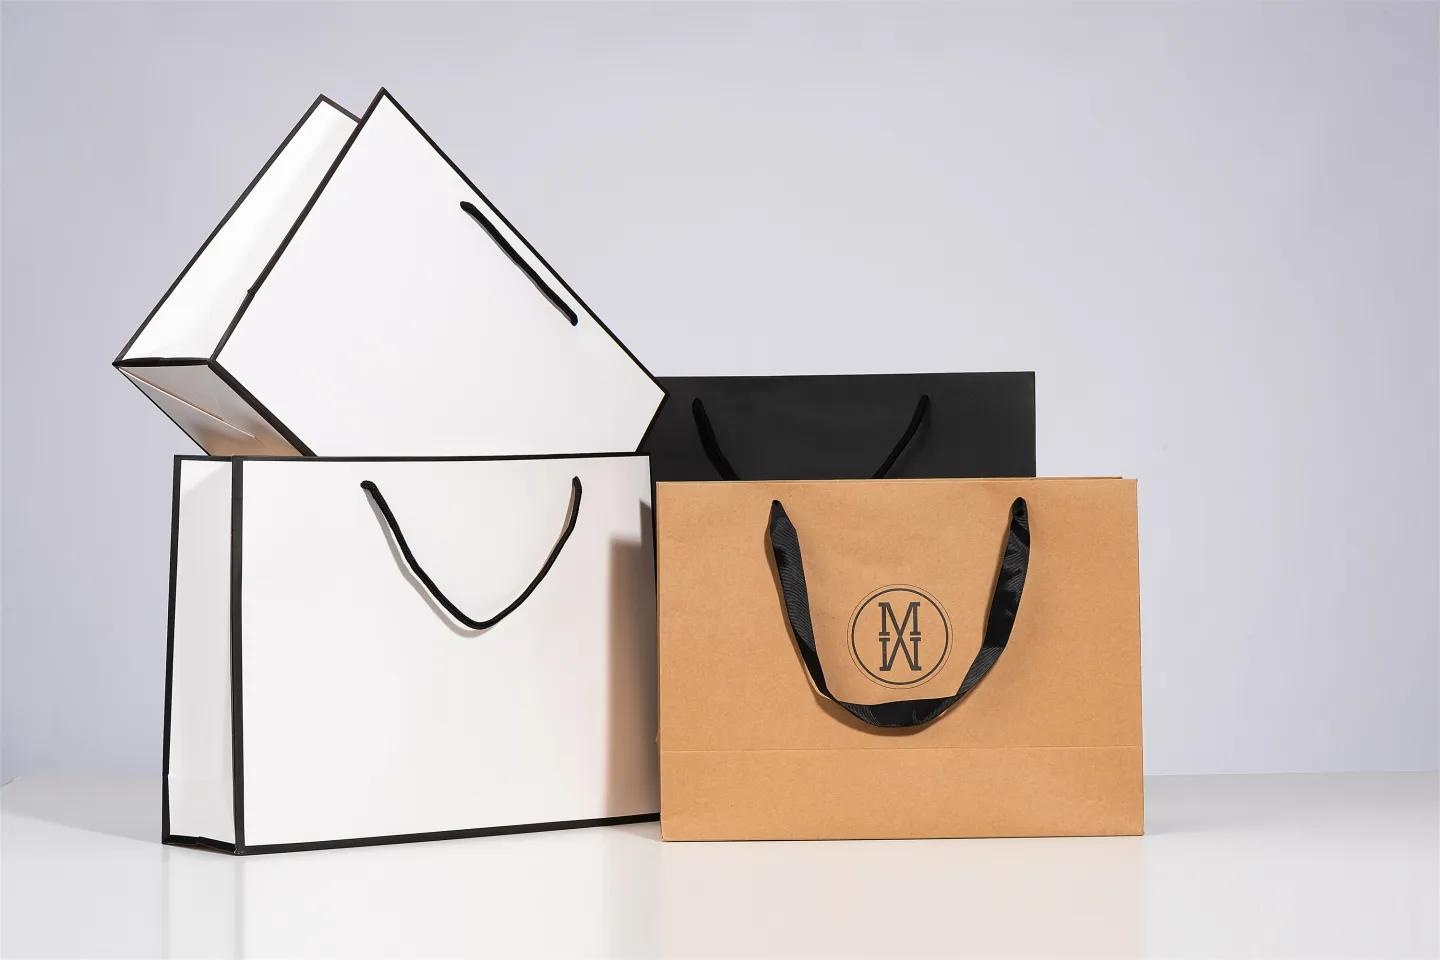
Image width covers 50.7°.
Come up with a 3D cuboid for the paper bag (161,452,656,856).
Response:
[{"bbox_3d":[-0.304,0.178,1.627,0.479,0.384,0.183,3,-7,-34],"label":"paper bag"}]

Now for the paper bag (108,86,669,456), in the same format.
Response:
[{"bbox_3d":[-0.401,-0.231,1.687,0.379,0.326,0.192,30,-7,-15],"label":"paper bag"}]

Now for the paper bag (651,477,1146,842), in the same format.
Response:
[{"bbox_3d":[0.182,0.176,1.606,0.575,0.408,0.351,-1,-7,-1],"label":"paper bag"}]
